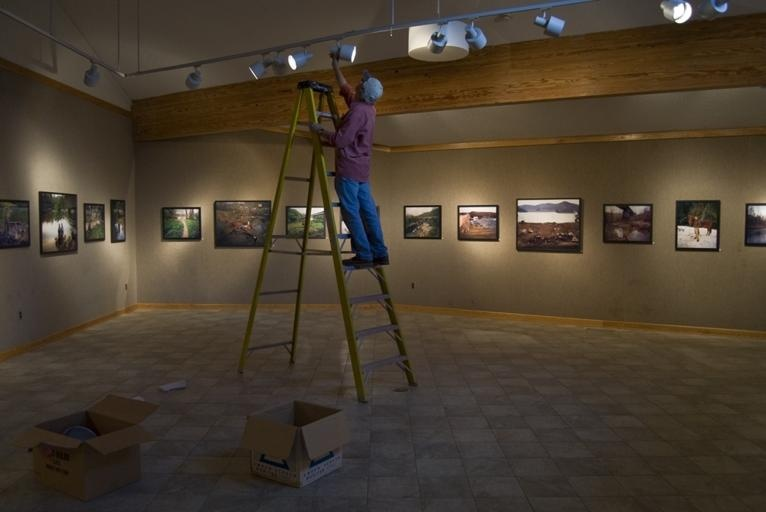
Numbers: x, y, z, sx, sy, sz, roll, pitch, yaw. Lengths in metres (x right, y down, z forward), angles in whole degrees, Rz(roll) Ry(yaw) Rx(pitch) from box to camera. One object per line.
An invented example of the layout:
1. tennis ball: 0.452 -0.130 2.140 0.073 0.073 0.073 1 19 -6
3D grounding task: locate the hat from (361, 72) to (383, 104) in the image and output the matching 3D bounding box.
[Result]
1. hat: -0.150 -2.149 6.879 0.258 0.311 0.119 -4 10 -25

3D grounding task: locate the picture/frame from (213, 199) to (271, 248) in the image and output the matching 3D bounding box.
1. picture/frame: -3.254 -0.739 11.990 0.975 1.268 0.051 -10 -9 -7

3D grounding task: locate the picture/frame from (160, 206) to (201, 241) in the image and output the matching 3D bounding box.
1. picture/frame: -4.694 -0.772 12.150 0.804 0.659 0.059 0 -2 -10

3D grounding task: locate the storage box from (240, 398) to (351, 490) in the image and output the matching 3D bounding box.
1. storage box: -0.895 1.895 5.247 0.800 0.477 0.830 2 2 35

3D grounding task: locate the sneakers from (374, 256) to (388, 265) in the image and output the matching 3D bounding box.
1. sneakers: -0.019 0.046 7.027 0.165 0.107 0.100 -3 -3 43

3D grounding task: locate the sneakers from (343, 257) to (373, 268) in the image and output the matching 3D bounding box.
1. sneakers: -0.323 0.087 6.886 0.423 0.164 0.142 4 4 -6

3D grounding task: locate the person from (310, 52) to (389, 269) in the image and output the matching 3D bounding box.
1. person: -0.356 -1.232 6.939 0.832 2.769 0.771 0 9 0

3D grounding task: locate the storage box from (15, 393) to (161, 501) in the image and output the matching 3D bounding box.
1. storage box: -2.861 1.846 5.155 1.003 0.581 0.960 3 1 31

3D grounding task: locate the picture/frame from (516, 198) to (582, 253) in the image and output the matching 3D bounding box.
1. picture/frame: 3.571 -0.665 11.188 1.188 0.999 0.158 1 -1 22

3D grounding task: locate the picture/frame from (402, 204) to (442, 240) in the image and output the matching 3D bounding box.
1. picture/frame: 0.955 -0.796 12.250 0.826 0.679 0.088 1 0 19

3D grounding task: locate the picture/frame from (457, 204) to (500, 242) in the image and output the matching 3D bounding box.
1. picture/frame: 2.157 -0.750 11.742 0.864 0.727 0.067 1 -1 21
